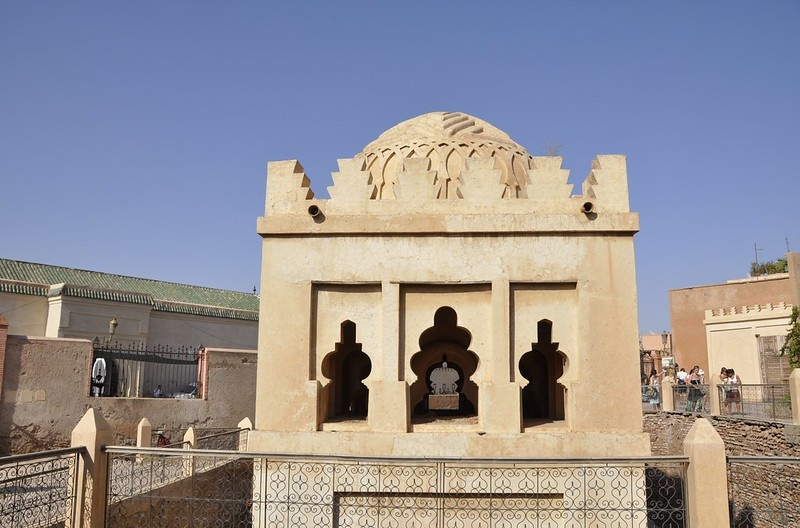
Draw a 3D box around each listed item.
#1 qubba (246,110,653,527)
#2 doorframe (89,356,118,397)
[{"bbox_3d":[0.860,1.072,15.132,6.961,10.232,7.242,0,-9,1],"label":"qubba"},{"bbox_3d":[-7.830,2.961,17.799,0.569,1.098,2.038,3,-13,-14],"label":"doorframe"}]
